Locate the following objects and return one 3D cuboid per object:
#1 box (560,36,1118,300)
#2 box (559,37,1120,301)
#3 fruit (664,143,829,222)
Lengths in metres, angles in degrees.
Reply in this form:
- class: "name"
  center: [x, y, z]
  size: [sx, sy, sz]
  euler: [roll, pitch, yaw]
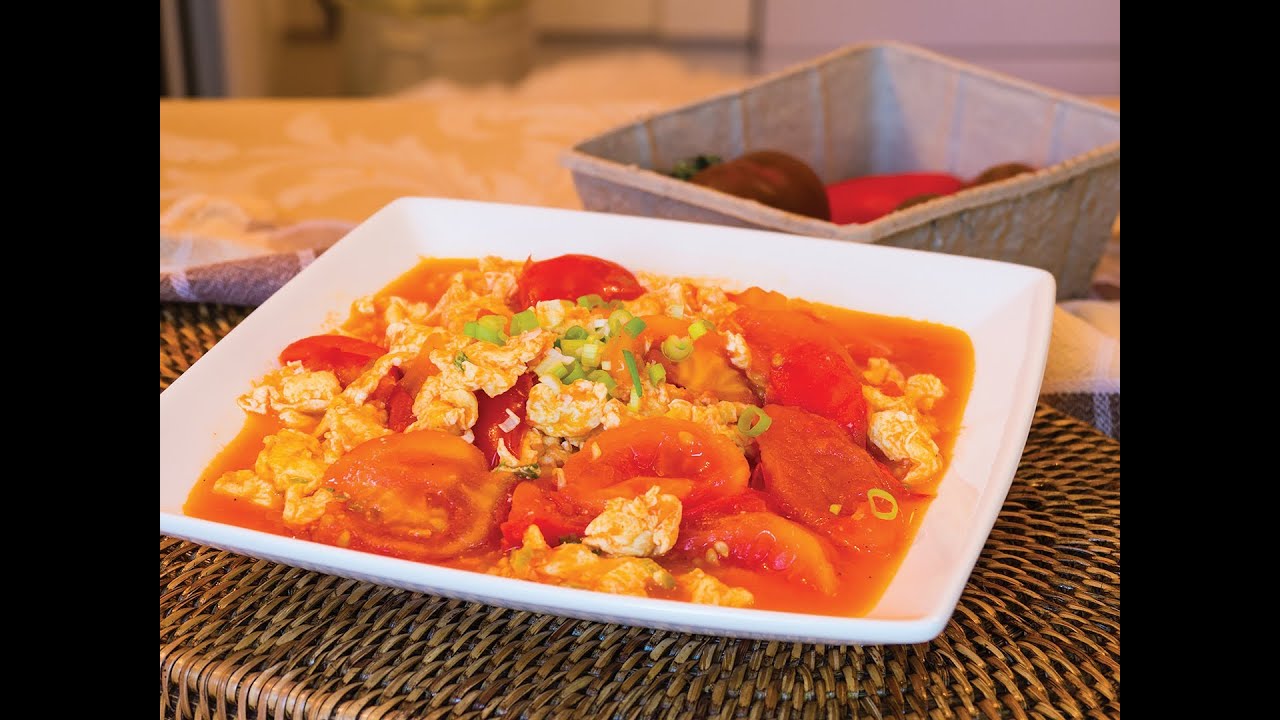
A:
- class: "box"
  center: [0.440, -0.390, 1.769]
  size: [0.580, 0.280, 0.714]
  euler: [-23, 31, -34]
- class: "box"
  center: [0.424, -0.395, 1.778]
  size: [0.614, 0.292, 0.743]
  euler: [-23, 32, -33]
- class: "fruit"
  center: [0.191, -0.296, 1.650]
  size: [0.208, 0.107, 0.144]
  euler: [15, 11, 1]
